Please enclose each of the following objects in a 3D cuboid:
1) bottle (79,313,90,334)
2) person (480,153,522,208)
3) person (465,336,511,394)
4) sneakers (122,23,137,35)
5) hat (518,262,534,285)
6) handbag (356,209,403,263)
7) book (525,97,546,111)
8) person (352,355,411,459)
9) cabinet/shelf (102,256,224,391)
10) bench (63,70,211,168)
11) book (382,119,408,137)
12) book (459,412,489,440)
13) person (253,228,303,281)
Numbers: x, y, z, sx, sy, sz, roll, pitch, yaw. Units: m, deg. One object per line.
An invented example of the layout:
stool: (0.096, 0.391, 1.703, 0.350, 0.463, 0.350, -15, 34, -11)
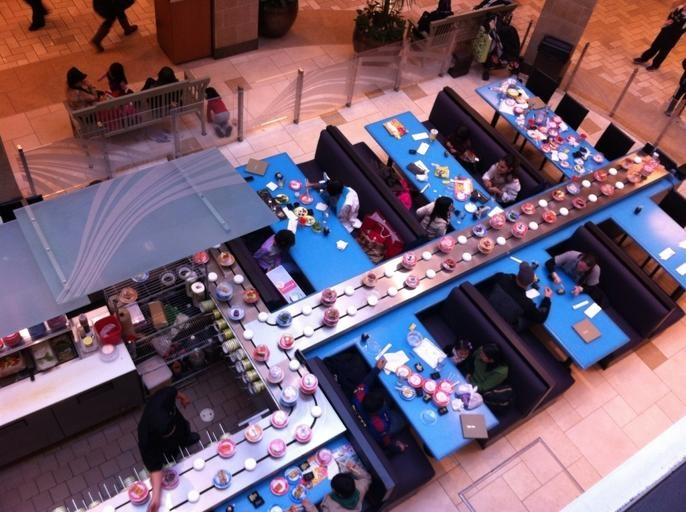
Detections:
bottle: (-3.019, 0.760, 5.863, 0.098, 0.221, 0.161, -20, 38, -28)
person: (2.645, -1.235, 8.324, 0.440, 0.755, 0.530, -23, 71, -20)
person: (1.830, 1.435, 6.462, 0.494, 0.722, 0.529, -7, 21, -17)
sneakers: (-4.381, -4.640, 10.293, 0.196, 0.188, 0.088, -35, 82, -17)
hat: (2.507, 0.235, 6.887, 0.208, 0.225, 0.153, 27, 59, 26)
handbag: (0.556, -0.286, 7.388, 0.544, 0.523, 0.228, 46, 47, 13)
book: (3.695, -2.918, 9.601, 0.287, 0.067, 0.293, -20, 65, -21)
person: (0.468, 1.806, 5.943, 0.487, 0.938, 0.556, -43, 77, -12)
cabinet/shelf: (-2.206, 0.753, 6.032, 0.988, 1.333, 0.863, -26, 65, -21)
bench: (-3.285, -2.143, 8.057, 2.041, 1.337, 0.806, -24, 71, -22)
book: (0.914, -2.246, 8.779, 0.276, 0.085, 0.374, -28, 70, -20)
book: (1.554, 1.998, 5.985, 0.311, 0.073, 0.304, 0, 60, -7)
person: (-0.943, 0.013, 7.140, 0.530, 0.940, 0.444, 28, 34, 12)
